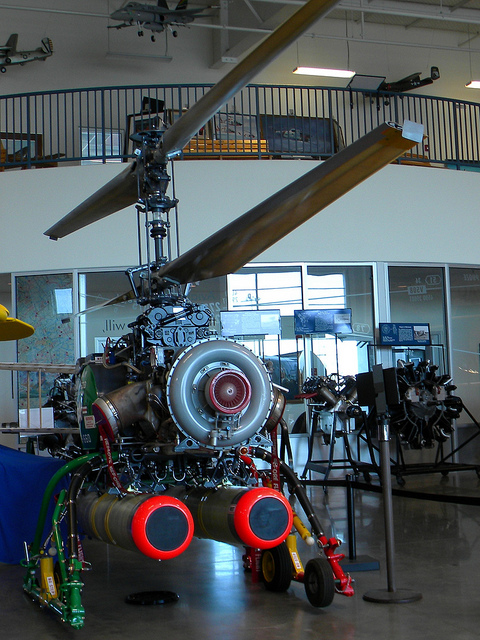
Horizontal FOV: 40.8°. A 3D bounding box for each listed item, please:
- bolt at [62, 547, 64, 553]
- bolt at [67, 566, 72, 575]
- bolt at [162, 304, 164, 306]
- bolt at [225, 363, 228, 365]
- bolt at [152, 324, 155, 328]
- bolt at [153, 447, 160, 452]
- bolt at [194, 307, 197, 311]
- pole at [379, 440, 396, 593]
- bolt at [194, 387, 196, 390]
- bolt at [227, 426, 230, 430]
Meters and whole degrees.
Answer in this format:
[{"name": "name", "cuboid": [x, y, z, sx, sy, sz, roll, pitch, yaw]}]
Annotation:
[{"name": "bolt", "cuboid": [-0.801, 1.045, 2.913, 0.013, 0.012, 0.013, 0, 2, -38]}, {"name": "bolt", "cuboid": [-0.737, 1.089, 2.788, 0.013, 0.034, 0.037, 1, 4, -39]}, {"name": "bolt", "cuboid": [-0.374, -0.073, 3.124, 0.010, 0.009, 0.003, -11, 16, 11]}, {"name": "bolt", "cuboid": [-0.063, 0.191, 2.795, 0.011, 0.009, 0.003, 0, 1, -1]}, {"name": "bolt", "cuboid": [-0.406, 0.029, 3.023, 0.016, 0.015, 0.014, 1, -3, -28]}, {"name": "bolt", "cuboid": [-0.373, 0.583, 2.873, 0.024, 0.021, 0.005, 1, 6, -5]}, {"name": "bolt", "cuboid": [-0.214, -0.052, 3.072, 0.023, 0.020, 0.011, -1, -8, -2]}, {"name": "pole", "cuboid": [0.740, 0.957, 3.245, 0.051, 0.576, 0.461, -3, 1, 12]}, {"name": "bolt", "cuboid": [-0.189, 0.292, 2.724, 0.013, 0.008, 0.002, -3, 1, -28]}, {"name": "bolt", "cuboid": [-0.052, 0.457, 2.708, 0.015, 0.014, 0.004, -8, -4, 3]}]
